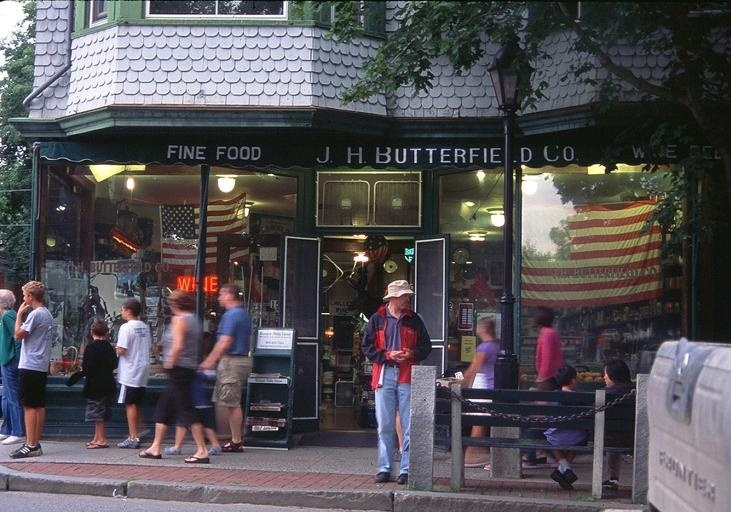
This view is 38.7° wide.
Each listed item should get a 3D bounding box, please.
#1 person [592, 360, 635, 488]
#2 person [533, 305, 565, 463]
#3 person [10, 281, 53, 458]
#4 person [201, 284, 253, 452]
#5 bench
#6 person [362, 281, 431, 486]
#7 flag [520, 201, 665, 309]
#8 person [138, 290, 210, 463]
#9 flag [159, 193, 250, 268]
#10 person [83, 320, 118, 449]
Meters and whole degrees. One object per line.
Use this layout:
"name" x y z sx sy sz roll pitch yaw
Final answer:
"person" 3.640 2.528 15.010 0.767 1.569 0.797 3 4 20
"person" 2.919 1.980 16.851 0.719 2.165 0.818 2 4 8
"person" -5.340 1.825 16.625 0.681 2.791 0.837 -5 -8 23
"person" -2.154 1.766 16.957 0.919 2.436 1.024 6 4 -6
"bench" 2.606 2.633 15.383 2.122 1.441 2.651 4 0 16
"person" 0.440 1.842 15.250 0.938 2.906 0.570 -2 1 -1
"flag" 4.236 -0.035 18.382 2.320 1.854 1.544 -9 -5 39
"person" -2.951 1.859 16.322 1.138 2.586 0.924 0 -3 8
"flag" -2.890 -0.446 18.666 1.529 1.353 0.438 -2 1 -13
"person" -4.339 2.109 17.006 0.757 1.902 0.676 0 -2 8
